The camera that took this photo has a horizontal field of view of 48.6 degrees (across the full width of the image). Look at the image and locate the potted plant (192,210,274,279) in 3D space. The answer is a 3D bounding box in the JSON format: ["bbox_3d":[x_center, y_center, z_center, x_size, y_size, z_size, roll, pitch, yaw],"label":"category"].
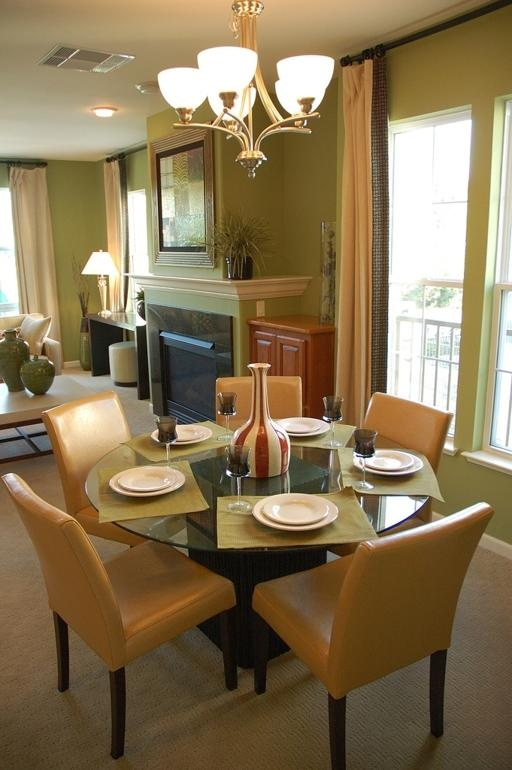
[{"bbox_3d":[-0.124,-0.966,3.969,0.475,0.462,0.488,-1,9,0],"label":"potted plant"}]

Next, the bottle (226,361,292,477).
[{"bbox_3d":[0.015,0.110,1.700,0.205,0.343,0.131,-4,9,-20],"label":"bottle"}]

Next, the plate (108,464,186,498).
[{"bbox_3d":[-0.317,0.279,1.644,0.107,0.012,0.106,-15,26,-38],"label":"plate"}]

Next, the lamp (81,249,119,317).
[{"bbox_3d":[-1.743,-1.146,6.424,0.430,0.680,0.417,-3,-2,-43],"label":"lamp"}]

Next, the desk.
[{"bbox_3d":[-1.657,-0.553,6.969,0.873,0.666,0.306,-16,3,-22],"label":"desk"}]

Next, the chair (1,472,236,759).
[{"bbox_3d":[-0.369,0.682,1.617,0.489,0.801,0.418,-20,28,-35],"label":"chair"}]

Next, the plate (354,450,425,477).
[{"bbox_3d":[0.416,0.243,1.763,0.130,0.016,0.130,-13,21,-30],"label":"plate"}]

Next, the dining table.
[{"bbox_3d":[0.007,0.503,1.649,0.794,0.440,0.810,1,15,7],"label":"dining table"}]

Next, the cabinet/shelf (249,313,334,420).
[{"bbox_3d":[0.244,-0.124,3.765,0.323,0.582,0.580,-12,19,-38],"label":"cabinet/shelf"}]

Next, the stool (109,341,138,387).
[{"bbox_3d":[-1.470,-0.230,6.282,0.352,0.435,0.369,5,24,5],"label":"stool"}]

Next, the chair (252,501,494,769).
[{"bbox_3d":[0.254,0.545,1.417,0.370,0.595,0.539,-5,10,-26],"label":"chair"}]
